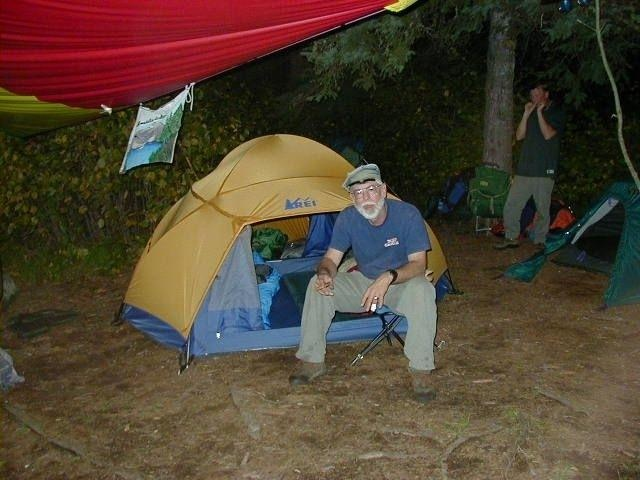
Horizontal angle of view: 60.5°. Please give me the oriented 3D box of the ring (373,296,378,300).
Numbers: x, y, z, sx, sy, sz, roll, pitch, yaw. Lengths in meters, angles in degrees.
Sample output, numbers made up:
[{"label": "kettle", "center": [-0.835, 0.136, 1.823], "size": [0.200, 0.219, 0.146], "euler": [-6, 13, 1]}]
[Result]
[{"label": "ring", "center": [0.475, 0.492, 4.619], "size": [0.037, 0.037, 0.011], "euler": [3, 12, 4]}]

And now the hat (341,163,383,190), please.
[{"label": "hat", "center": [0.414, -0.575, 4.971], "size": [0.341, 0.230, 0.309], "euler": [8, 13, 25]}]

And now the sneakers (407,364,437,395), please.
[{"label": "sneakers", "center": [0.898, 1.177, 4.735], "size": [0.233, 0.231, 0.392], "euler": [4, 12, 11]}]

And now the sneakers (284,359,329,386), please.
[{"label": "sneakers", "center": [-0.105, 1.176, 4.925], "size": [0.160, 0.138, 0.320], "euler": [-2, 0, 42]}]

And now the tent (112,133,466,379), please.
[{"label": "tent", "center": [-0.627, -0.148, 6.673], "size": [3.224, 2.064, 3.625], "euler": [16, 15, 43]}]

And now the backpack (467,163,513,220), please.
[{"label": "backpack", "center": [2.758, -0.755, 8.838], "size": [0.623, 0.886, 0.479], "euler": [0, 3, 17]}]

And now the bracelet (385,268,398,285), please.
[{"label": "bracelet", "center": [0.624, 0.322, 4.750], "size": [0.076, 0.113, 0.122], "euler": [-6, 35, -8]}]

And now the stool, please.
[{"label": "stool", "center": [0.678, 0.840, 5.282], "size": [0.353, 0.470, 0.334], "euler": [15, 14, 6]}]

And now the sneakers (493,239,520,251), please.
[{"label": "sneakers", "center": [2.796, 0.075, 8.146], "size": [0.367, 0.178, 0.159], "euler": [2, 19, 14]}]
